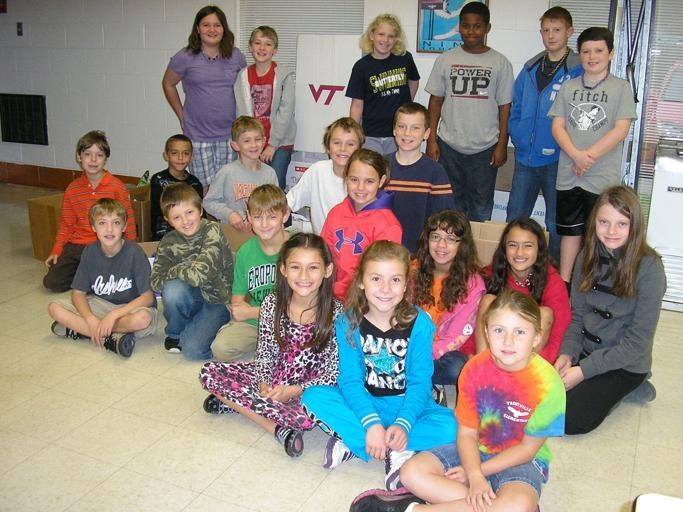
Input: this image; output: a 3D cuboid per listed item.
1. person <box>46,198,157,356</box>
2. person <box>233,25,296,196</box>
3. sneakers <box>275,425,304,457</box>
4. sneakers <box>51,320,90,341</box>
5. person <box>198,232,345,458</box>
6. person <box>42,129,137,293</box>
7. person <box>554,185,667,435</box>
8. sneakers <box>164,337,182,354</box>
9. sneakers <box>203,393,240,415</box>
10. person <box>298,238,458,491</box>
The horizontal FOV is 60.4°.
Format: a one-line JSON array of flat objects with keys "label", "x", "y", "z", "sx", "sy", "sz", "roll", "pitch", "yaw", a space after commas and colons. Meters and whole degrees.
[{"label": "person", "x": -1.366, "y": 0.125, "z": 3.426, "sx": 0.653, "sy": 0.841, "sz": 0.622, "roll": 16, "pitch": 21, "yaw": 38}, {"label": "person", "x": -0.643, "y": -0.978, "z": 4.719, "sx": 0.483, "sy": 1.671, "sz": 0.456, "roll": 2, "pitch": 14, "yaw": 4}, {"label": "sneakers", "x": -0.242, "y": 0.835, "z": 2.667, "sx": 0.136, "sy": 0.098, "sz": 0.049, "roll": 32, "pitch": 35, "yaw": 33}, {"label": "sneakers", "x": -1.604, "y": 0.441, "z": 3.475, "sx": 0.162, "sy": 0.056, "sz": 0.068, "roll": 21, "pitch": 18, "yaw": -7}, {"label": "person", "x": -0.336, "y": 0.395, "z": 2.823, "sx": 0.720, "sy": 0.930, "sz": 0.602, "roll": 9, "pitch": 16, "yaw": 16}, {"label": "person", "x": -1.802, "y": -0.318, "z": 4.176, "sx": 0.671, "sy": 1.061, "sz": 0.678, "roll": -7, "pitch": 21, "yaw": -35}, {"label": "person", "x": 1.291, "y": 0.254, "z": 2.822, "sx": 0.426, "sy": 1.123, "sz": 0.558, "roll": 8, "pitch": 20, "yaw": 28}, {"label": "sneakers", "x": -0.983, "y": 0.519, "z": 3.405, "sx": 0.069, "sy": 0.077, "sz": 0.113, "roll": 2, "pitch": 7, "yaw": -6}, {"label": "sneakers", "x": -0.588, "y": 0.743, "z": 2.930, "sx": 0.194, "sy": 0.082, "sz": 0.072, "roll": 16, "pitch": 49, "yaw": -5}, {"label": "person", "x": 0.160, "y": 0.448, "z": 2.570, "sx": 0.663, "sy": 0.936, "sz": 0.707, "roll": -7, "pitch": 11, "yaw": -20}]
